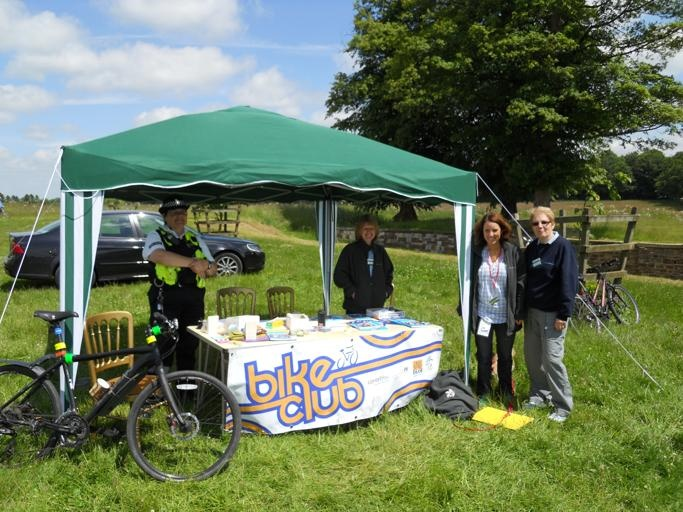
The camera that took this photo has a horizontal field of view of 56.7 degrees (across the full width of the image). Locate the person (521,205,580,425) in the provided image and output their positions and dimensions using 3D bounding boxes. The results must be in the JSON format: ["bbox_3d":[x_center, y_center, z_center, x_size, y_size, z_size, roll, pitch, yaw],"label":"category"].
[{"bbox_3d":[2.705,0.742,8.272,0.686,2.742,0.407,2,5,30],"label":"person"}]

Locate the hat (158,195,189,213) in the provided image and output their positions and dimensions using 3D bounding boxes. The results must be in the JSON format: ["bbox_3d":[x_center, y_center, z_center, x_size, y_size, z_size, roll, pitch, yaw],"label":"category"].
[{"bbox_3d":[-2.182,-0.648,8.171,0.365,0.249,0.224,-1,5,-6],"label":"hat"}]

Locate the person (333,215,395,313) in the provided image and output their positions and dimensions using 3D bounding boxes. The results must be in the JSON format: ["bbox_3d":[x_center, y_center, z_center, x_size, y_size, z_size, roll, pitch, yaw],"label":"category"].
[{"bbox_3d":[0.322,0.125,9.141,0.892,1.425,0.553,-1,4,-6],"label":"person"}]

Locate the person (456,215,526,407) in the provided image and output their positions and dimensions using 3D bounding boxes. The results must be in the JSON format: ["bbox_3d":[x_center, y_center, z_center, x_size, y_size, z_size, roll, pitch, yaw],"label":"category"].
[{"bbox_3d":[2.076,0.716,8.737,0.788,2.774,0.623,-1,15,10],"label":"person"}]

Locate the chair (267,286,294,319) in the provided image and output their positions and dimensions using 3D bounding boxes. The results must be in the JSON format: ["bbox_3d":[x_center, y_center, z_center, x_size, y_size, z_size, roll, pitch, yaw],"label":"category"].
[{"bbox_3d":[-1.008,0.720,10.397,0.396,0.517,1.166,-1,5,-3],"label":"chair"}]
